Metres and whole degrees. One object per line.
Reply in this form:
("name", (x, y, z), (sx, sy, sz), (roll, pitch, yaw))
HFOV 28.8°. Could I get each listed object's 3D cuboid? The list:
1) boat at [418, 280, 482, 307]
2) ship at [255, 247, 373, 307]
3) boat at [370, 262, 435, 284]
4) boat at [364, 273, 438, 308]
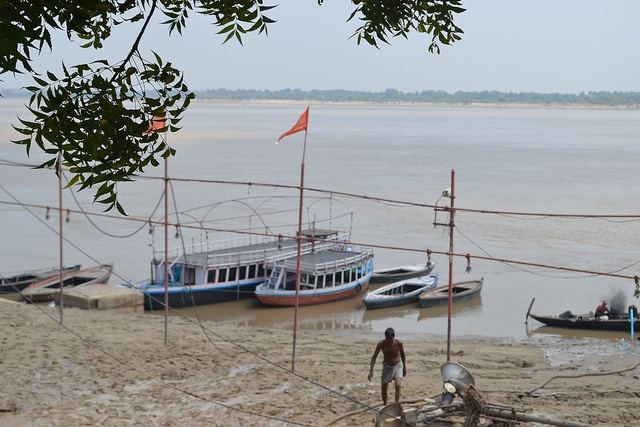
("boat", (8.298, 5.037, 78.524), (4.560, 0.955, 1.536), (-10, 19, -35))
("ship", (-0.380, 4.118, 78.664), (6.483, 2.045, 3.380), (-6, 9, -36))
("boat", (5.342, 4.105, 82.476), (5.650, 0.883, 1.490), (-8, 25, -22))
("boat", (5.087, 4.914, 78.592), (4.943, 0.740, 1.756), (-13, 29, -34))
